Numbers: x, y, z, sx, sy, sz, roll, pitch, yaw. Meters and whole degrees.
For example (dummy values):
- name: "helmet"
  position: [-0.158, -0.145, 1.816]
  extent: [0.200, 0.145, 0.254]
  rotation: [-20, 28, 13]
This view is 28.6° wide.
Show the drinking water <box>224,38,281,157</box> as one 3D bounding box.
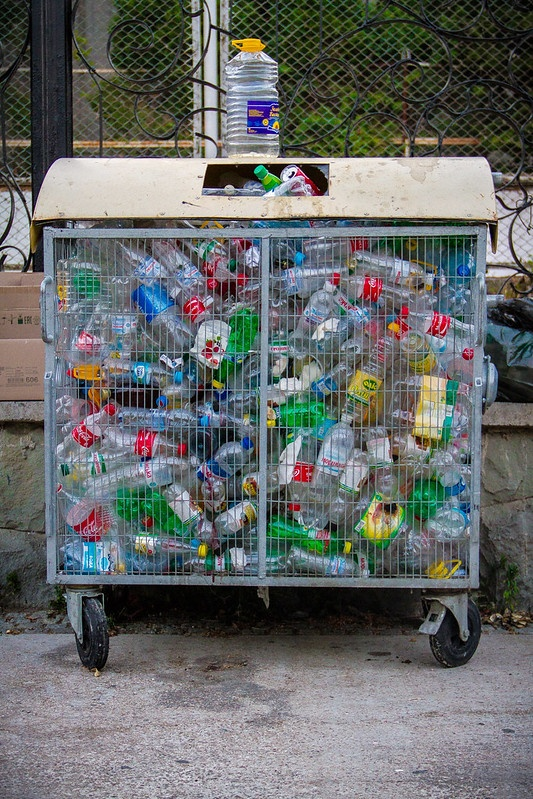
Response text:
- name: "drinking water"
  position: [-0.058, -1.262, 4.438]
  extent: [0.218, 0.532, 0.517]
  rotation: [0, 4, -2]

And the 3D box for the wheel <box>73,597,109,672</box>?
- name: "wheel"
  position: [-0.653, 0.877, 3.901]
  extent: [0.086, 0.316, 0.264]
  rotation: [-2, -1, -27]
